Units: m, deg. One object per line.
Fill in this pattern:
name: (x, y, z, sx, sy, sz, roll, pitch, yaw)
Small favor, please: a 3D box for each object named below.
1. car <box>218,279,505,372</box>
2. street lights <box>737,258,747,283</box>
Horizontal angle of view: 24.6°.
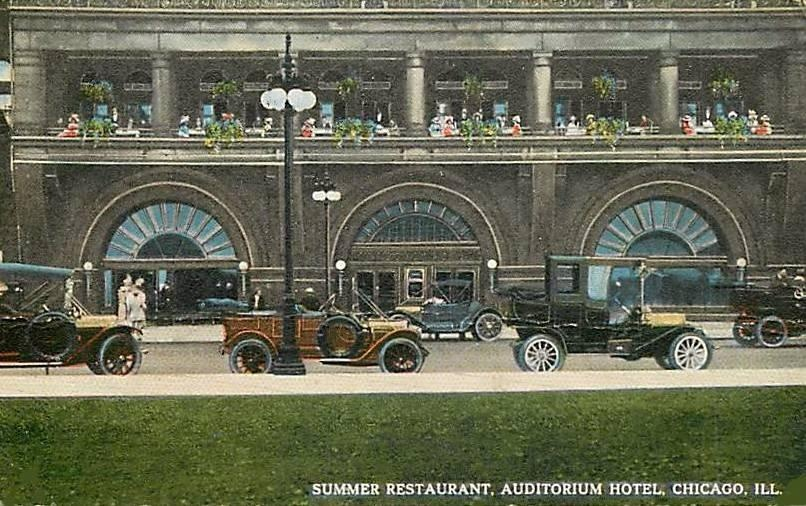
car: (-3.616, 3.320, 79.934, 7.609, 3.051, 3.903, -1, -3, -3)
street lights: (16.994, 0.893, 93.175, 0.544, 1.041, 0.774, -1, 3, 17)
